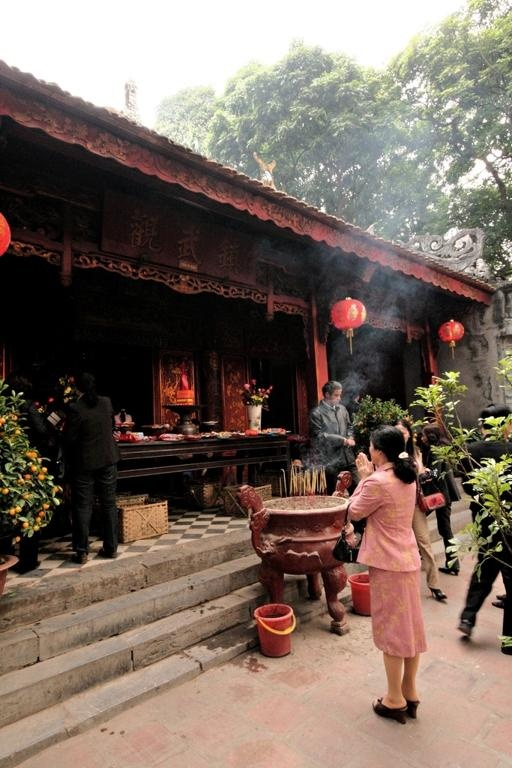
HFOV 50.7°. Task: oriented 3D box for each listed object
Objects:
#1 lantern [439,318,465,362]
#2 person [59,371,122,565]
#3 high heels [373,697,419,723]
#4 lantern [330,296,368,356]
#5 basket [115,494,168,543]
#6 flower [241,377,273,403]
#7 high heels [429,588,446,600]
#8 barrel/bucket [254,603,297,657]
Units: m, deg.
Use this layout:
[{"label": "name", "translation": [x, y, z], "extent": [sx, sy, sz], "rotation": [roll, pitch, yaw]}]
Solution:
[{"label": "lantern", "translation": [3.343, -0.776, 9.242], "extent": [0.375, 0.674, 1.396], "rotation": [0, -1, 21]}, {"label": "person", "translation": [-1.369, 0.637, 4.439], "extent": [0.459, 1.557, 0.441], "rotation": [0, 0, -40]}, {"label": "high heels", "translation": [0.729, 1.714, 2.897], "extent": [0.107, 0.063, 0.171], "rotation": [8, -9, -32]}, {"label": "lantern", "translation": [1.091, -0.812, 6.513], "extent": [0.419, 0.563, 0.793], "rotation": [0, -1, 8]}, {"label": "basket", "translation": [-1.038, 1.276, 5.018], "extent": [0.515, 0.299, 0.191], "rotation": [1, -1, -44]}, {"label": "flower", "translation": [-0.052, 0.070, 7.104], "extent": [0.374, 0.352, 0.393], "rotation": [13, -2, 13]}, {"label": "high heels", "translation": [1.543, 1.806, 4.642], "extent": [0.060, 0.085, 0.190], "rotation": [-1, -16, -17]}, {"label": "barrel/bucket", "translation": [0.095, 1.624, 3.648], "extent": [0.258, 0.296, 0.278], "rotation": [-1, -2, 0]}]
